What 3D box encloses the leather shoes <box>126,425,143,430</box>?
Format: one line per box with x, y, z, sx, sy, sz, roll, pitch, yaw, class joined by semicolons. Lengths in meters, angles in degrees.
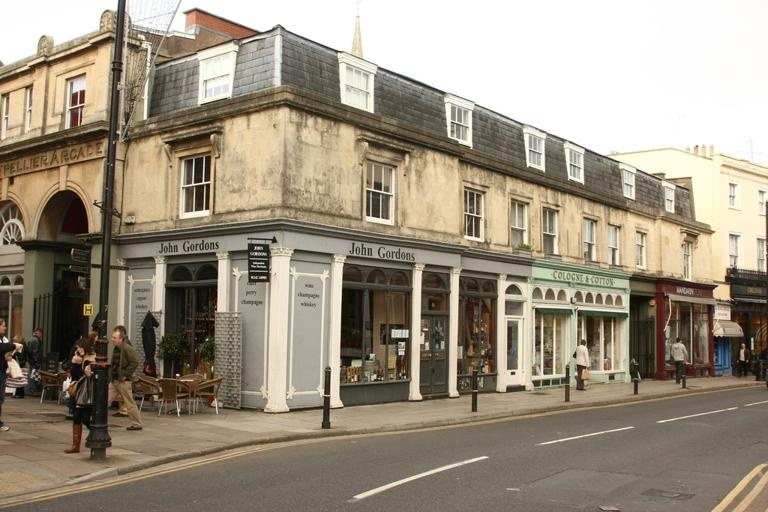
-7.615;5.284;26.860;0.367;0.154;0.196;12;-8;-16;leather shoes

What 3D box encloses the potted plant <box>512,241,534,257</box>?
6.215;-0.273;39.402;0.639;0.598;1.478;3;4;35;potted plant

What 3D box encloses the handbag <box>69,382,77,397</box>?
-8.739;3.769;24.679;0.192;0.455;0.619;0;3;-23;handbag

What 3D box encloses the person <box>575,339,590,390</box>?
9.018;4.973;40.274;0.593;2.255;1.476;2;3;13;person

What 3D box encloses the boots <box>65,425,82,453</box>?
-8.616;5.042;24.303;0.427;0.797;0.304;0;4;-15;boots
